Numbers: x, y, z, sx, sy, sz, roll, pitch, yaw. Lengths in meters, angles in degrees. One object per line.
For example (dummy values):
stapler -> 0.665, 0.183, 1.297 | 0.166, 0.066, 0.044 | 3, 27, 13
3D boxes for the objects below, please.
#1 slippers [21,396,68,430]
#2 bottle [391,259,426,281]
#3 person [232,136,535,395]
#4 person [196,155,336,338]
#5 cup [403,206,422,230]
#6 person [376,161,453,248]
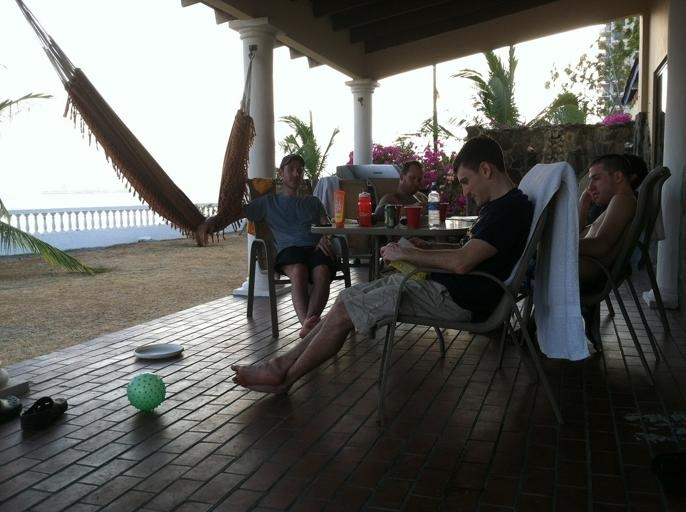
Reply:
slippers -> -1.663, 0.858, 2.745 | 0.118, 0.134, 0.336 | 2, 1, 1
bottle -> 0.380, 0.079, 2.806 | 0.133, 0.037, 0.137 | 22, 3, -1
person -> 0.217, 0.077, 2.939 | 1.782, 1.487, 0.734 | -3, -7, 9
person -> -0.401, -0.130, 4.479 | 0.877, 1.639, 0.823 | -3, 3, -23
cup -> 0.494, -0.280, 3.520 | 0.159, 0.170, 0.161 | -1, 6, 0
person -> 0.704, -0.710, 5.249 | 0.889, 0.650, 0.414 | -3, 14, -30
